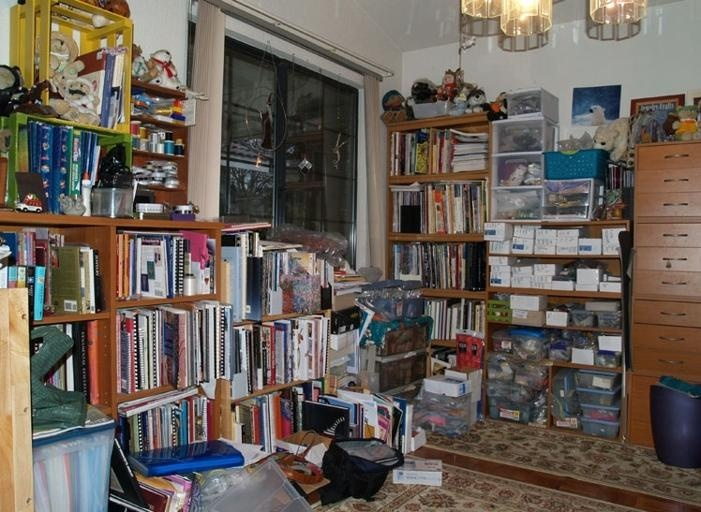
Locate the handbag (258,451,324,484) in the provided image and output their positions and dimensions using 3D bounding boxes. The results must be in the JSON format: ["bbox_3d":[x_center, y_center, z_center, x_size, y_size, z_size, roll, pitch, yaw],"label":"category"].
[{"bbox_3d":[-0.315,1.171,3.291,0.319,0.114,0.223,24,-1,5],"label":"handbag"}]

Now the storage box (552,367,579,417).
[{"bbox_3d":[1.573,1.005,4.350,0.120,0.353,0.317,-1,13,36],"label":"storage box"}]

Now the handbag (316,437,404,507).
[{"bbox_3d":[0.037,1.194,3.342,0.357,0.349,0.163,19,0,-40],"label":"handbag"}]

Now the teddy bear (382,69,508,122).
[{"bbox_3d":[0.744,-1.307,4.945,0.897,0.443,0.529,-4,13,13],"label":"teddy bear"}]

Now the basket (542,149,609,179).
[{"bbox_3d":[1.675,-0.676,4.422,0.293,0.170,0.294,4,10,28],"label":"basket"}]
